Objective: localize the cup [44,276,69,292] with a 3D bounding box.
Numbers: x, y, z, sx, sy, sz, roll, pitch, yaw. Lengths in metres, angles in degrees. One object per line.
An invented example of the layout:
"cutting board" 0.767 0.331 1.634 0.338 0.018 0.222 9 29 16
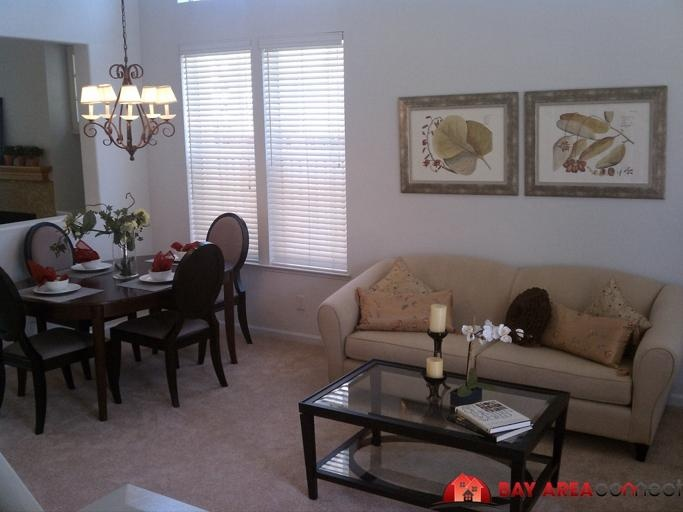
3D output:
"cup" -2.088 0.195 3.944 0.117 0.068 0.116 0 3 0

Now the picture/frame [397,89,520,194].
"picture/frame" 1.002 -0.965 4.453 0.844 0.736 0.030 3 10 25

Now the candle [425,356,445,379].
"candle" 0.552 0.657 3.237 0.112 0.129 0.110 0 4 -9

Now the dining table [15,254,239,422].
"dining table" -1.753 0.442 4.519 1.684 1.341 1.403 7 10 34

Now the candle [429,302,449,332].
"candle" 0.575 0.360 3.235 0.097 0.171 0.125 1 14 4

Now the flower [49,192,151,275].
"flower" -1.930 -0.111 4.440 0.732 0.675 0.729 3 10 26

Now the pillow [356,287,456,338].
"pillow" 0.445 0.417 4.280 0.665 0.284 0.311 0 29 5

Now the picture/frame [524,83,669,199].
"picture/frame" 1.946 -0.882 4.044 0.847 0.762 0.040 2 6 24

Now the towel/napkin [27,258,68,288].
"towel/napkin" -2.162 0.132 3.981 0.235 0.101 0.203 11 13 16

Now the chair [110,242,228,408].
"chair" -1.386 0.471 4.332 0.827 1.277 0.837 -3 9 -42

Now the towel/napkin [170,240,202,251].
"towel/napkin" -1.352 -0.094 4.708 0.145 0.062 0.151 -1 -1 3

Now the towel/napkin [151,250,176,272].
"towel/napkin" -1.405 0.032 4.314 0.166 0.209 0.089 3 -34 -7

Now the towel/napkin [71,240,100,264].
"towel/napkin" -2.193 -0.023 4.671 0.235 0.194 0.333 -8 18 -36

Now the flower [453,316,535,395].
"flower" 0.858 0.614 3.213 0.468 0.416 0.488 8 -4 11

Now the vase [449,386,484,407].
"vase" 0.711 0.805 3.114 0.156 0.106 0.085 -2 2 -22

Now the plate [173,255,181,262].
"plate" -1.422 0.016 4.663 0.061 0.083 0.069 0 -2 18
